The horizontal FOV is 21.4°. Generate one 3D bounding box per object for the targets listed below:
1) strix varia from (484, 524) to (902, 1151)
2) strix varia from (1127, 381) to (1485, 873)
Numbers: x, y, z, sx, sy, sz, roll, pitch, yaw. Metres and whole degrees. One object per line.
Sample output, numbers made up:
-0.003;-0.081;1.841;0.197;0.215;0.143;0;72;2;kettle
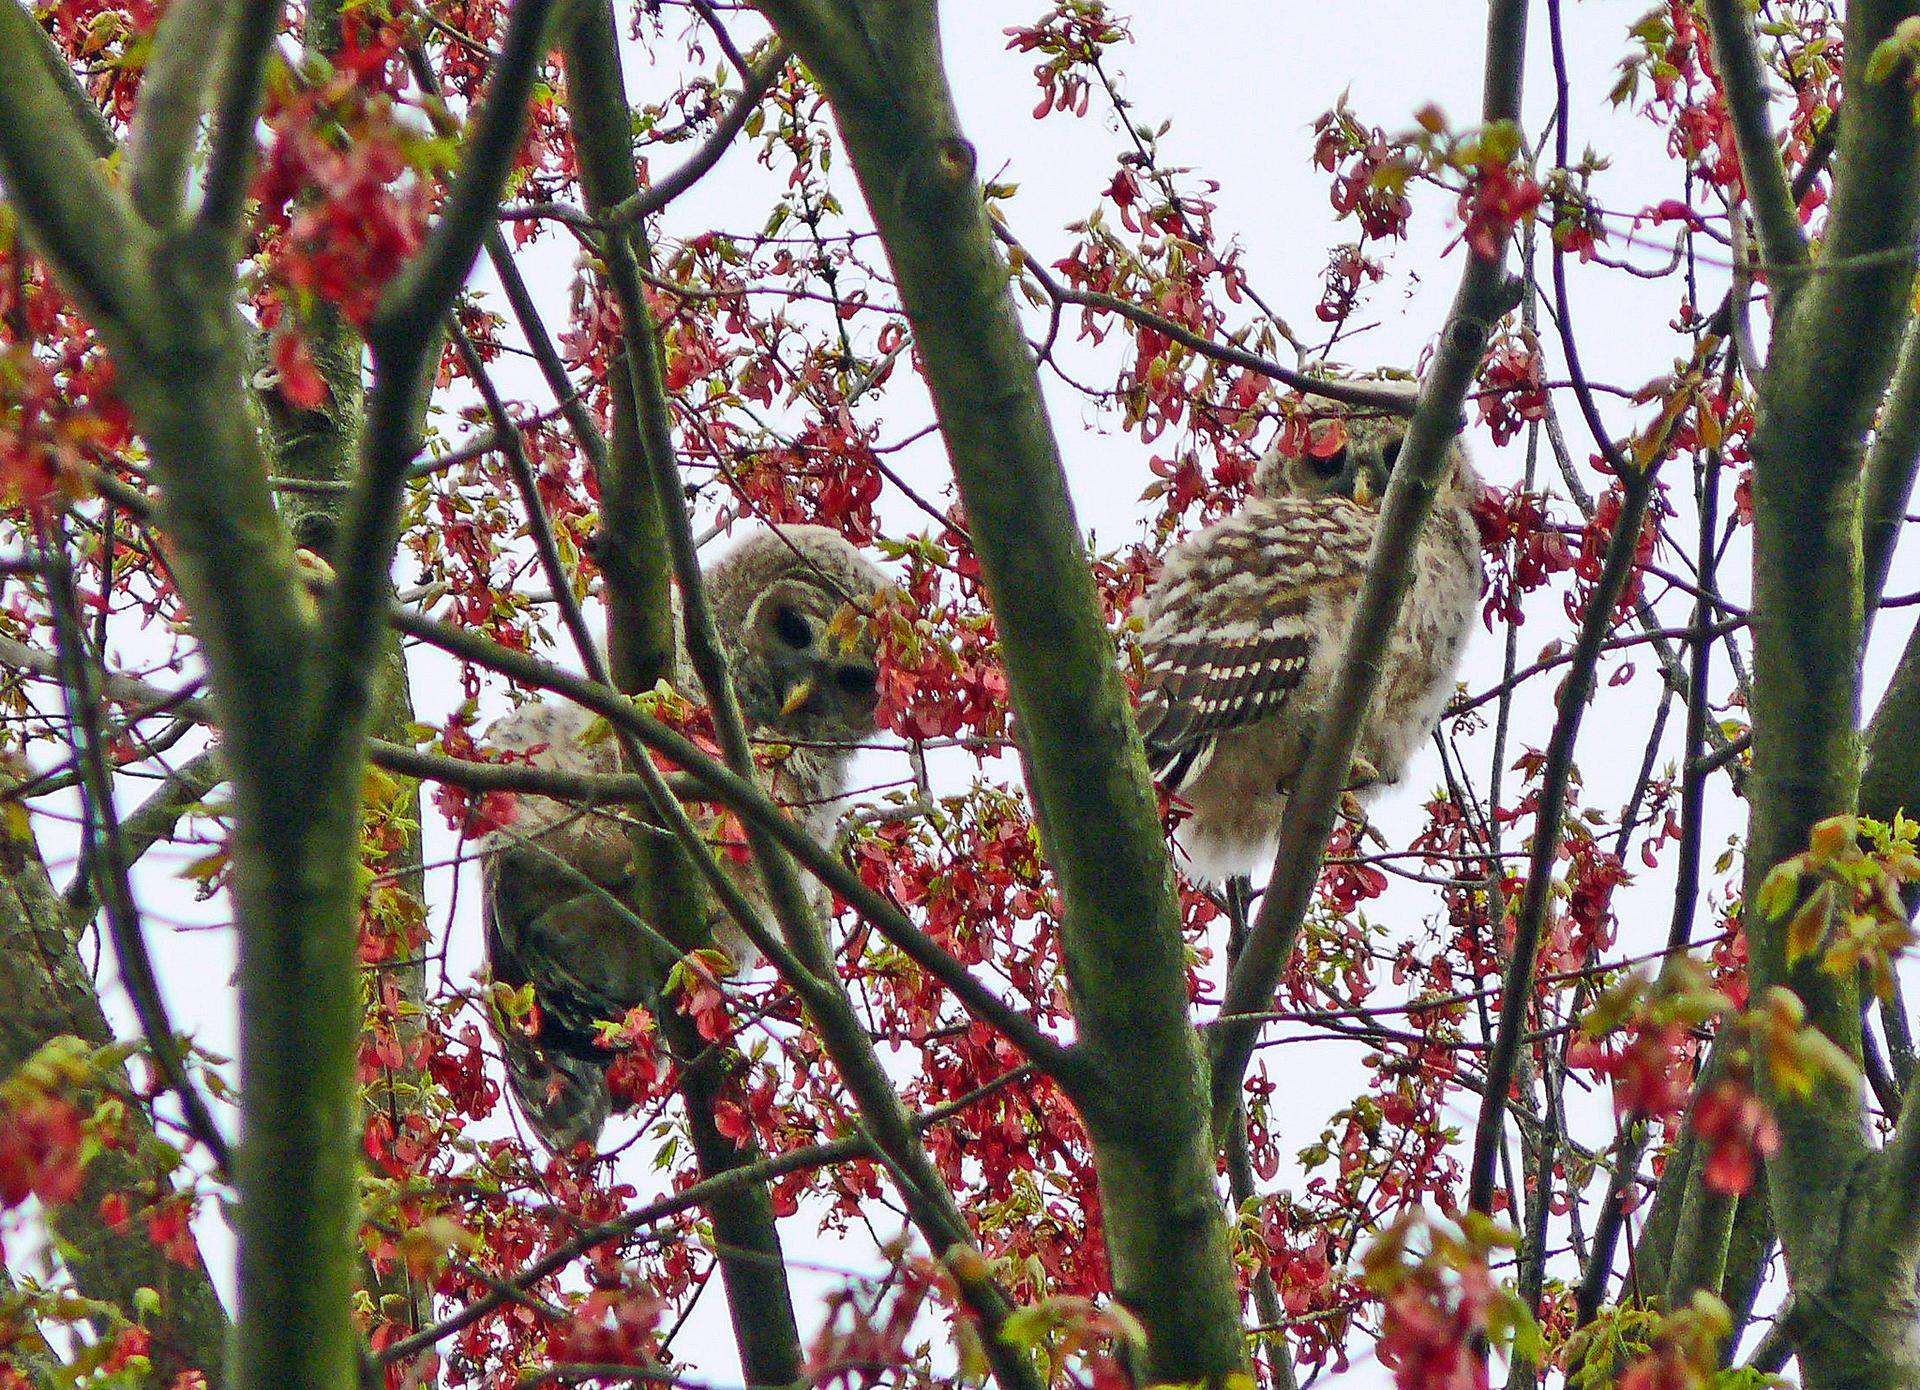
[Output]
-0.699;0.538;13.684;0.856;1.628;1.355;21;-32;-30;strix varia
0.796;-0.128;12.021;0.917;0.934;0.537;-15;-51;4;strix varia
